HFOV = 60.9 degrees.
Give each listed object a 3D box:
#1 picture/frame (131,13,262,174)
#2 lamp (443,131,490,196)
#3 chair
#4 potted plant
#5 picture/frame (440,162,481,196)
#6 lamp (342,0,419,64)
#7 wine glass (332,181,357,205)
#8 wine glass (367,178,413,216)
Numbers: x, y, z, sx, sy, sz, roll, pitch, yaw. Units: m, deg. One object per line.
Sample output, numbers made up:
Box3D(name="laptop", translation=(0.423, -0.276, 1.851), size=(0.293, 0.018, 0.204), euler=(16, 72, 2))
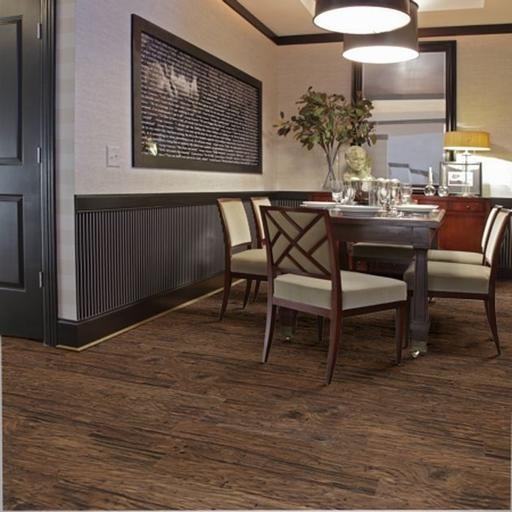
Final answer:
Box3D(name="picture/frame", translation=(-0.443, -1.339, 4.168), size=(0.065, 1.087, 2.286), euler=(8, 11, 24))
Box3D(name="lamp", translation=(2.606, -1.106, 5.460), size=(0.519, 0.781, 0.524), euler=(8, 5, 35))
Box3D(name="chair", translation=(0.810, 0.134, 2.622), size=(0.842, 0.887, 1.401), euler=(1, 1, 42))
Box3D(name="potted plant", translation=(0.891, -1.539, 5.520), size=(1.205, 1.320, 0.814), euler=(2, 6, 18))
Box3D(name="picture/frame", translation=(2.544, -0.911, 5.380), size=(0.413, 0.345, 0.396), euler=(3, 14, 36))
Box3D(name="lamp", translation=(0.945, -1.543, 3.327), size=(0.526, 0.308, 0.511), euler=(-1, 2, 1))
Box3D(name="wine glass", translation=(0.640, -0.444, 3.094), size=(0.180, 0.135, 0.138), euler=(-7, 11, -28))
Box3D(name="wine glass", translation=(0.954, -0.379, 3.141), size=(0.311, 0.326, 0.314), euler=(0, 4, 27))
